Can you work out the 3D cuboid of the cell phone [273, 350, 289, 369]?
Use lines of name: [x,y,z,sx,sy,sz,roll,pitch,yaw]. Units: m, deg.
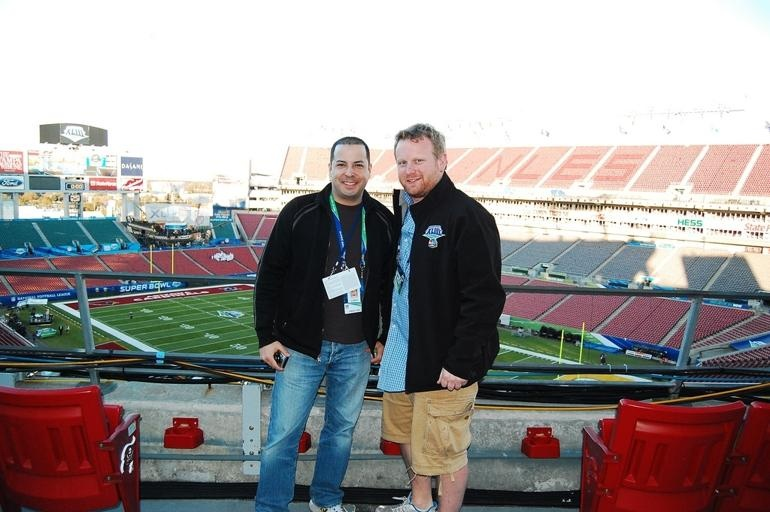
cell phone: [-0.640,0.635,3.726,0.103,0.101,0.030,24,16,26]
